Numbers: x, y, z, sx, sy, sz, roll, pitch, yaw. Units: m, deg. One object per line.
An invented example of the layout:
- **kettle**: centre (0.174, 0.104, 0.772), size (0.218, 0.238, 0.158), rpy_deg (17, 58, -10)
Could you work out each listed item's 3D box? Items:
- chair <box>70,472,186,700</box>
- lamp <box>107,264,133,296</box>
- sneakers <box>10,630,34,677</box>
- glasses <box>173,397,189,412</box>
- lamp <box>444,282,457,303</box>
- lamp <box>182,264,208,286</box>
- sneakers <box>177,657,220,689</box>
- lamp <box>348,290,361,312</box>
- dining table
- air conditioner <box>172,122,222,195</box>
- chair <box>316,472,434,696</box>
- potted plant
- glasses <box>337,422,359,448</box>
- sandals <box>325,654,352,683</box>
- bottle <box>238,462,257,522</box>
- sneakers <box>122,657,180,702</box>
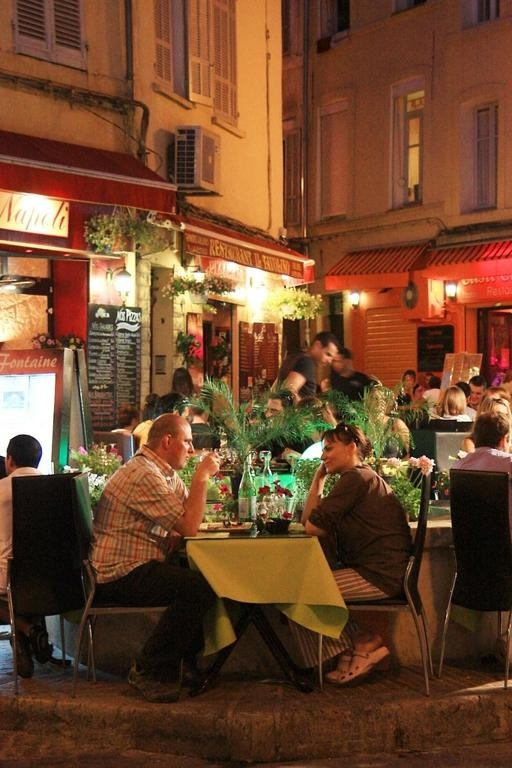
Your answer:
- **chair**: centre (-0.614, 0.949, 3.419), size (0.492, 1.060, 0.865), rpy_deg (-1, 1, -13)
- **lamp**: centre (-1.783, -1.375, 9.625), size (0.238, 0.386, 0.350), rpy_deg (0, 2, 43)
- **sneakers**: centre (-1.144, 1.324, 3.550), size (0.082, 0.249, 0.095), rpy_deg (-9, -1, -25)
- **glasses**: centre (-0.607, 0.164, 5.751), size (0.088, 0.032, 0.100), rpy_deg (-34, -20, -40)
- **lamp**: centre (3.788, -1.762, 14.006), size (0.162, 0.393, 0.200), rpy_deg (-2, 2, -33)
- **lamp**: centre (-0.960, -1.663, 11.180), size (0.357, 0.328, 0.279), rpy_deg (0, 0, 34)
- **sneakers**: centre (-0.275, 1.345, 3.348), size (0.093, 0.125, 0.294), rpy_deg (-1, -24, -9)
- **lamp**: centre (2.181, -1.829, 15.933), size (0.246, 0.358, 0.116), rpy_deg (4, 7, 29)
- **dining table**: centre (0.016, 1.117, 3.657), size (0.734, 0.875, 0.592), rpy_deg (1, -4, 0)
- **air conditioner**: centre (-0.876, -3.403, 11.096), size (0.396, 0.880, 1.064), rpy_deg (4, 11, 10)
- **chair**: centre (0.592, 0.947, 3.477), size (0.487, 1.042, 0.744), rpy_deg (-1, 2, 13)
- **potted plant**: centre (-0.017, 0.352, 4.624), size (0.727, 0.753, 0.720), rpy_deg (-12, -19, 30)
- **glasses**: centre (0.436, 0.267, 3.590), size (0.115, 0.112, 0.087), rpy_deg (0, 0, -41)
- **sandals**: centre (0.388, 1.350, 3.440), size (0.064, 0.077, 0.182), rpy_deg (-9, -6, 43)
- **bottle**: centre (-0.048, 0.546, 3.820), size (0.097, 0.322, 0.227), rpy_deg (-1, 1, 0)
- **sneakers**: centre (-0.463, 1.309, 3.177), size (0.142, 0.136, 0.348), rpy_deg (-2, 2, -40)
